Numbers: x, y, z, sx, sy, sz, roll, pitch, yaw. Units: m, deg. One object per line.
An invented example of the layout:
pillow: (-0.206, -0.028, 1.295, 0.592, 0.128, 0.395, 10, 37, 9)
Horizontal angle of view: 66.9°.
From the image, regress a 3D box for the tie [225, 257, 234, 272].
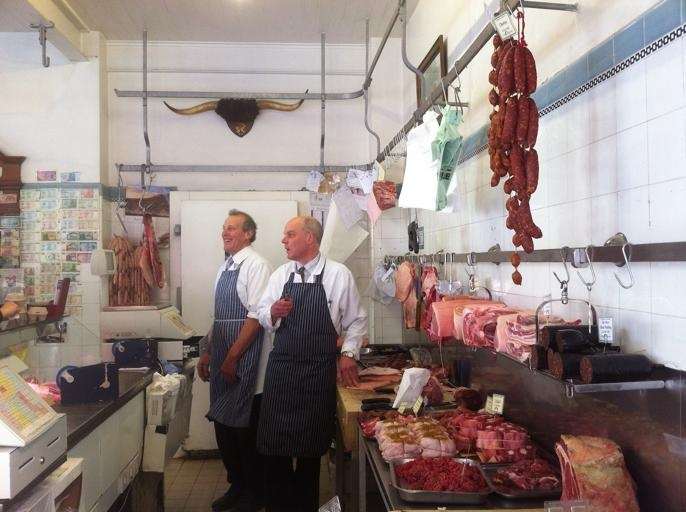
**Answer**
tie: (-0.811, 0.053, 3.715, 0.067, 0.062, 0.110, 5, -13, -16)

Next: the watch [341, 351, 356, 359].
watch: (0.043, 0.607, 3.281, 0.066, 0.048, 0.064, 13, -13, -28)

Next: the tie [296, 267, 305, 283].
tie: (-0.263, 0.114, 3.281, 0.027, 0.039, 0.132, -23, 33, 7)
